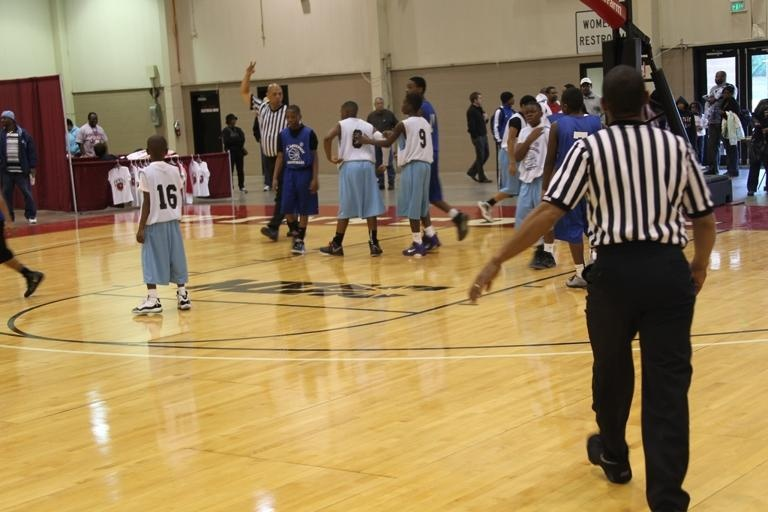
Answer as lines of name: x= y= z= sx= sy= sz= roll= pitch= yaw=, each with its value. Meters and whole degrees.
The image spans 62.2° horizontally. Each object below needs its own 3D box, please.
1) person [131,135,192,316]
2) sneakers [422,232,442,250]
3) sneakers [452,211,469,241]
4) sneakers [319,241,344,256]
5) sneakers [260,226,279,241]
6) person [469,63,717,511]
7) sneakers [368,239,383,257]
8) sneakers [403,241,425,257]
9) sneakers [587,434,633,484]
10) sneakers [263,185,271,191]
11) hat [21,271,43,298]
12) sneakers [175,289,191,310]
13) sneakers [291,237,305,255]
person: x=-2.250 y=-0.294 z=6.373 sx=0.555 sy=1.770 sz=0.663 roll=-7 pitch=11 yaw=-21
sneakers: x=0.683 y=-0.209 z=9.033 sx=0.400 sy=0.232 sz=0.174 roll=-11 pitch=13 yaw=-35
sneakers: x=1.020 y=-0.393 z=8.471 sx=0.186 sy=0.394 sz=0.268 roll=-1 pitch=11 yaw=11
sneakers: x=-0.700 y=-0.102 z=8.879 sx=0.386 sy=0.248 sz=0.141 roll=6 pitch=4 yaw=12
sneakers: x=-1.821 y=-0.355 z=10.264 sx=0.089 sy=0.204 sz=0.151 roll=-29 pitch=19 yaw=36
person: x=0.995 y=0.283 z=2.724 sx=0.657 sy=1.639 sz=0.574 roll=4 pitch=13 yaw=34
sneakers: x=-0.098 y=-0.127 z=8.857 sx=0.169 sy=0.219 sz=0.286 roll=-3 pitch=11 yaw=0
sneakers: x=0.427 y=-0.096 z=8.751 sx=0.300 sy=0.193 sz=0.152 roll=5 pitch=8 yaw=22
sneakers: x=1.047 y=0.966 z=3.042 sx=0.110 sy=0.131 sz=0.311 roll=-11 pitch=25 yaw=-7
sneakers: x=-3.219 y=-1.882 z=17.733 sx=0.107 sy=0.128 sz=0.295 roll=0 pitch=-8 yaw=-5
hat: x=-4.078 y=0.329 z=7.429 sx=0.180 sy=0.254 sz=0.088 roll=17 pitch=15 yaw=-9
sneakers: x=-2.055 y=0.448 z=6.575 sx=0.108 sy=0.152 sz=0.325 roll=-3 pitch=9 yaw=-15
sneakers: x=-1.235 y=-0.142 z=9.187 sx=0.193 sy=0.236 sz=0.247 roll=-4 pitch=11 yaw=-7
